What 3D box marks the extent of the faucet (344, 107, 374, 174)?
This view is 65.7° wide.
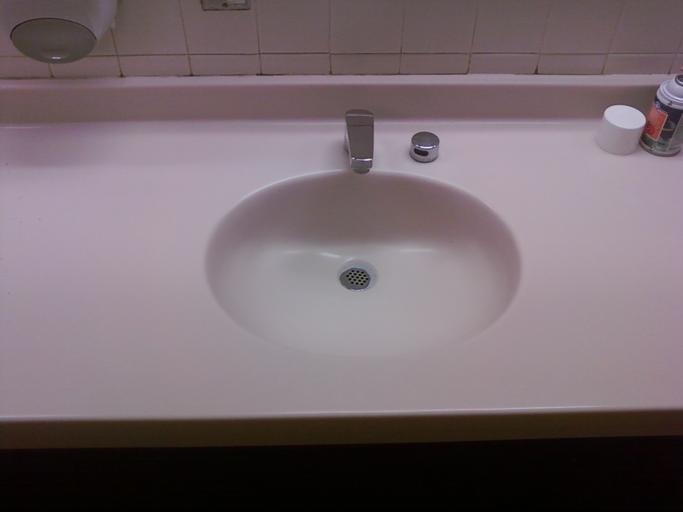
[{"bbox_3d":[0.034,-0.221,1.006,0.056,0.111,0.047,2,-33,-2],"label":"faucet"}]
